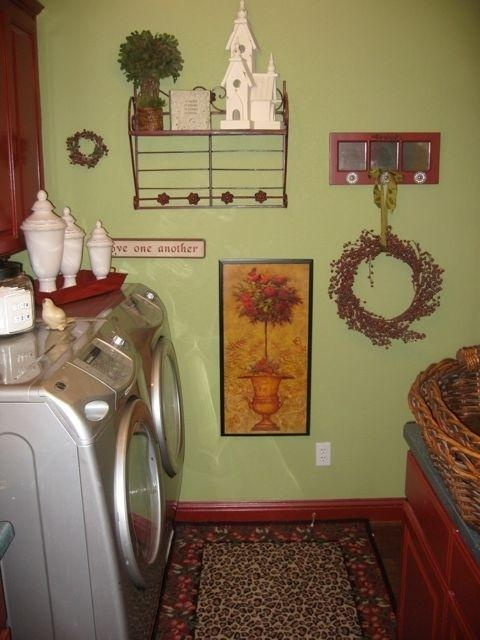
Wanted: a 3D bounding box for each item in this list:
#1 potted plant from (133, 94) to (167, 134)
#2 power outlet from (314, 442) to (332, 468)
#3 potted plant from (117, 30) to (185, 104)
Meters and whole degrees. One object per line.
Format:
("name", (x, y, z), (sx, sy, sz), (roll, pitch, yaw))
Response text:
("potted plant", (-0.371, -0.829, 1.935), (0.139, 0.136, 0.124), (-2, 14, -14))
("power outlet", (0.403, 0.651, 2.340), (0.116, 0.164, 0.016), (0, 6, -2))
("potted plant", (-0.361, -1.020, 1.957), (0.265, 0.286, 0.202), (-19, 45, -31))
